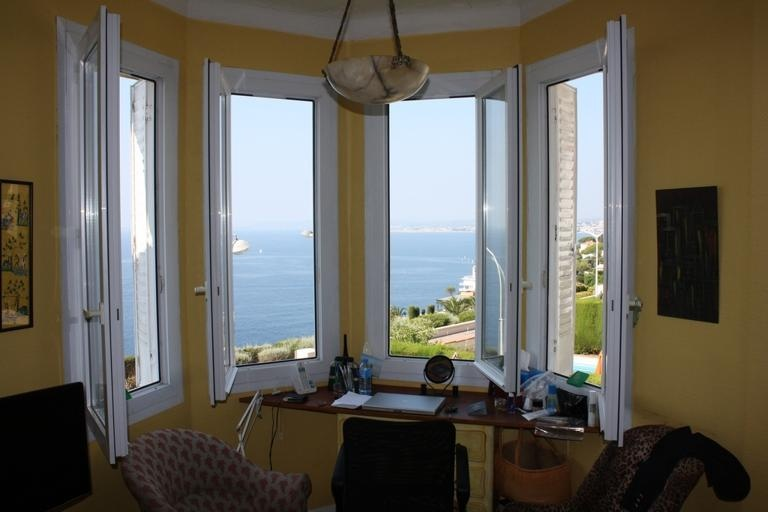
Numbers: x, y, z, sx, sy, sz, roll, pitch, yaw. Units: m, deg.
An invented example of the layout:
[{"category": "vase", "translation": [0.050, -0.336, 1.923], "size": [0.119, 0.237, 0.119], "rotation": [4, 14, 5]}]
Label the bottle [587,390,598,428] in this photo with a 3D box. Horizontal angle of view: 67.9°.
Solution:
[{"category": "bottle", "translation": [1.493, 1.088, 4.065], "size": [0.070, 0.231, 0.113], "rotation": [0, 3, 21]}]

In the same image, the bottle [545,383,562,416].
[{"category": "bottle", "translation": [1.249, 1.052, 4.214], "size": [0.093, 0.210, 0.083], "rotation": [-1, 3, 10]}]
